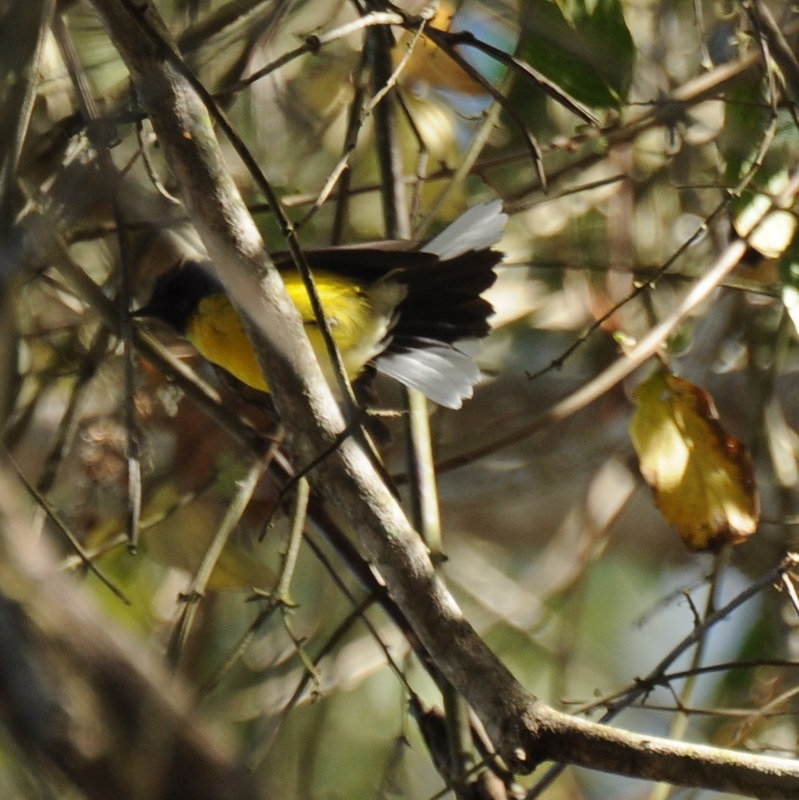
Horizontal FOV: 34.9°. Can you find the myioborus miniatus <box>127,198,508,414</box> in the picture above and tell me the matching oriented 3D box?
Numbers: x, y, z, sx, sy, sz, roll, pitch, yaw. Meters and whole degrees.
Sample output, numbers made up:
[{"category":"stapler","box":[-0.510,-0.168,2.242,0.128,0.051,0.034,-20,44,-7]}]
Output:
[{"category":"myioborus miniatus","box":[-0.058,-0.045,1.029,0.278,0.201,0.205,3,-56,3]}]
